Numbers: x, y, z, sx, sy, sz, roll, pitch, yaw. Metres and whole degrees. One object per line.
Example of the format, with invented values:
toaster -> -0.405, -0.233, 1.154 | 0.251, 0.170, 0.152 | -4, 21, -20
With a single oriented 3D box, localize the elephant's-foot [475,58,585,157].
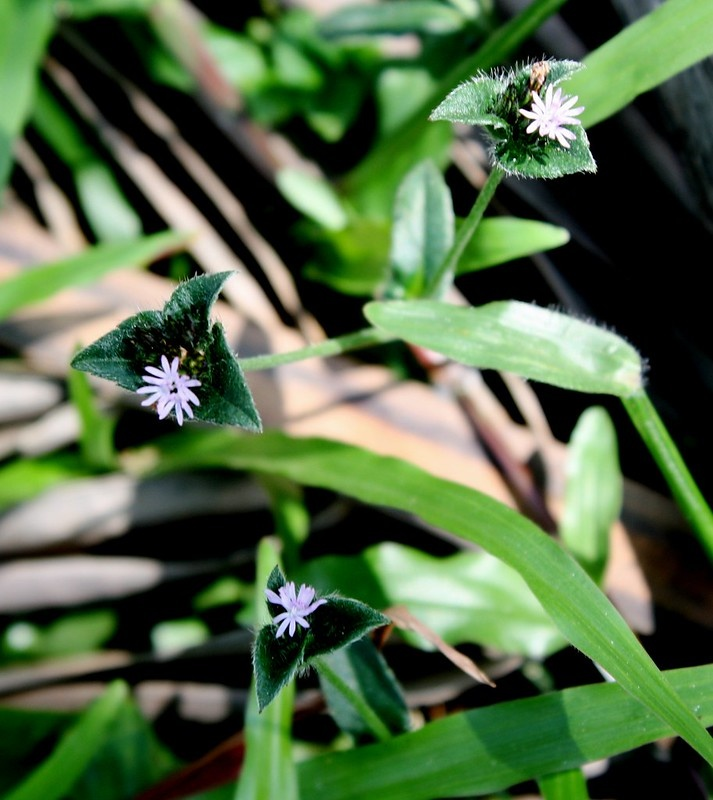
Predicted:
elephant's-foot -> 0.136, -0.228, 0.643 | 0.084, 0.072, 0.041 | -29, 8, 0
